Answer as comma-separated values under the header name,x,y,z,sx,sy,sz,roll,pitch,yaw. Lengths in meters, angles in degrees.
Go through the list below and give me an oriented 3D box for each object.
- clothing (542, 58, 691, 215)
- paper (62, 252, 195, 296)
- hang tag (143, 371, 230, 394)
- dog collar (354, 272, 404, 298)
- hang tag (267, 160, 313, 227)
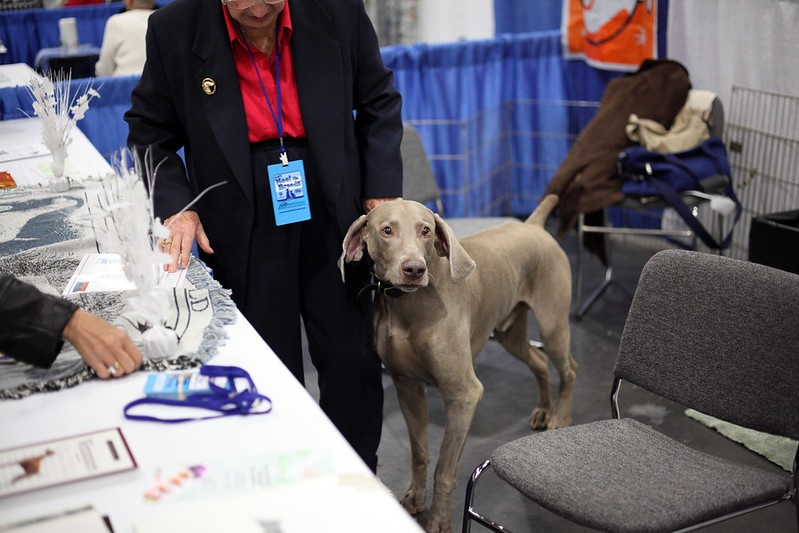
name,x,y,z,sx,sy,sz,roll,pitch,yaw
clothing,1.331,-0.772,4.175,0.810,0.863,0.464,-17,23,-31
paper,-0.949,0.007,2.383,0.449,0.085,0.326,-2,21,8
hang tag,-0.628,0.326,1.960,0.191,0.021,0.102,-5,21,-1
dog collar,-0.072,0.080,2.578,0.128,0.070,0.103,-3,11,13
hang tag,-0.407,-0.279,2.517,0.166,0.281,0.028,-13,8,-13
